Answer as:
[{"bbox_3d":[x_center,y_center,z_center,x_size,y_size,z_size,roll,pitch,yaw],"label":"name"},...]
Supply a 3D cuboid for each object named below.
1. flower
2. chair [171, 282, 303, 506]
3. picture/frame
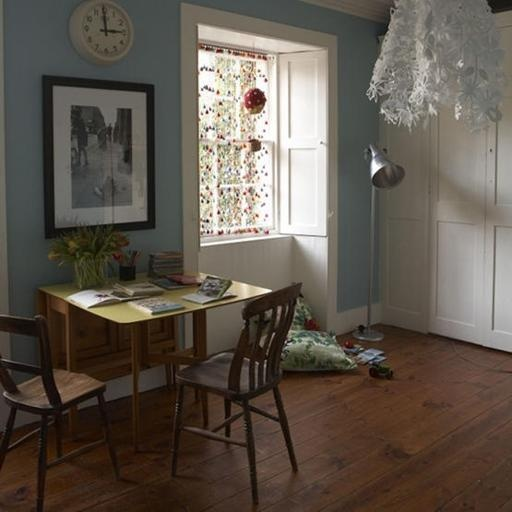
[{"bbox_3d":[-0.914,-0.017,2.605,0.374,0.358,0.337,-3,4,-44],"label":"flower"},{"bbox_3d":[-0.116,0.534,2.522,0.608,0.949,1.411,-1,7,-2],"label":"chair"},{"bbox_3d":[-0.942,-0.596,2.782,0.825,1.216,0.049,-8,14,-42],"label":"picture/frame"}]
